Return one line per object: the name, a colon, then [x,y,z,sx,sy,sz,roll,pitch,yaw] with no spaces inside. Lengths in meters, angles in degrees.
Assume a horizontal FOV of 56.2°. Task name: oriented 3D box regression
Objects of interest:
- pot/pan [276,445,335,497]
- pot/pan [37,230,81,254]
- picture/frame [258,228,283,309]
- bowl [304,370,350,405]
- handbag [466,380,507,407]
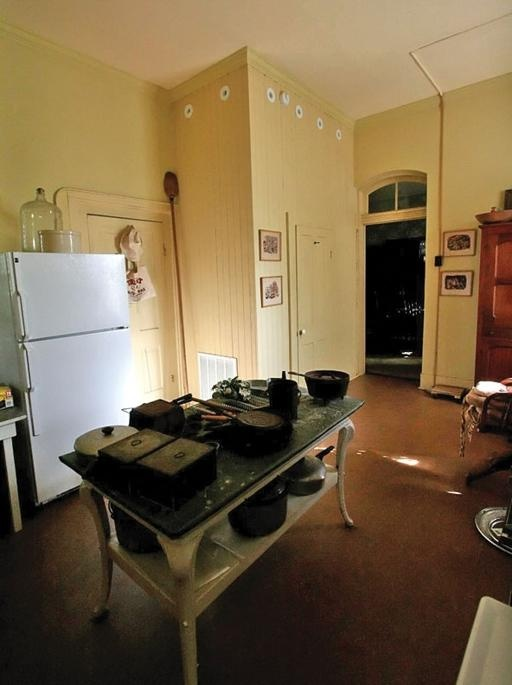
pot/pan: [0.247,0.591,2.257,0.152,0.105,0.264,1,9,28]
pot/pan: [-1.234,-0.602,3.039,0.187,0.138,0.191,5,11,32]
picture/frame: [0.117,-0.647,4.134,0.029,0.865,0.619,2,8,24]
bowl: [0.360,0.217,2.423,0.164,0.111,0.178,0,1,0]
handbag: [1.487,0.314,3.070,0.219,0.070,0.167,-20,16,-9]
